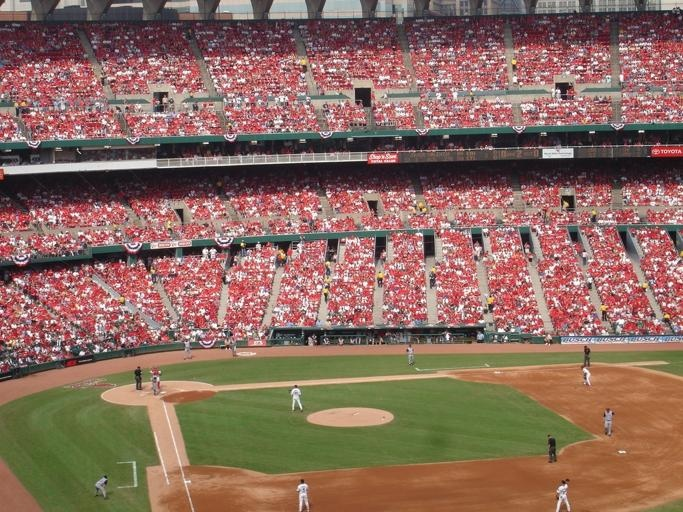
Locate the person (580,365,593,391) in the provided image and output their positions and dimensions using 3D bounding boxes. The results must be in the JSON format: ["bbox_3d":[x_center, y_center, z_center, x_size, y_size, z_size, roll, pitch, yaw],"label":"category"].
[{"bbox_3d":[18.649,9.396,71.056,0.593,0.599,1.498,15,39,1],"label":"person"}]

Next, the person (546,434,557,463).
[{"bbox_3d":[13.234,11.845,58.432,0.554,1.561,1.814,-1,16,12],"label":"person"}]
